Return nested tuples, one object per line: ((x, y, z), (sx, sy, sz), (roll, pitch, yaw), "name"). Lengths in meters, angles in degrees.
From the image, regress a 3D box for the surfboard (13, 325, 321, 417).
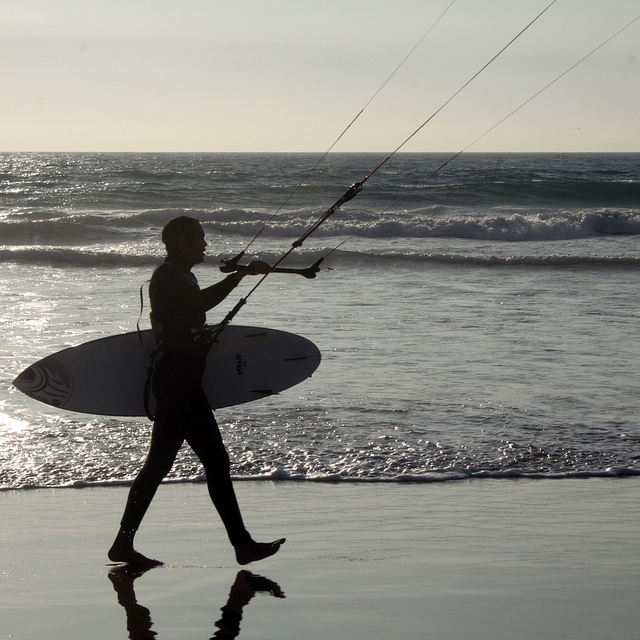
((-0.908, 0.310, 8.592), (2.364, 0.516, 0.220), (-4, -12, -37), "surfboard")
